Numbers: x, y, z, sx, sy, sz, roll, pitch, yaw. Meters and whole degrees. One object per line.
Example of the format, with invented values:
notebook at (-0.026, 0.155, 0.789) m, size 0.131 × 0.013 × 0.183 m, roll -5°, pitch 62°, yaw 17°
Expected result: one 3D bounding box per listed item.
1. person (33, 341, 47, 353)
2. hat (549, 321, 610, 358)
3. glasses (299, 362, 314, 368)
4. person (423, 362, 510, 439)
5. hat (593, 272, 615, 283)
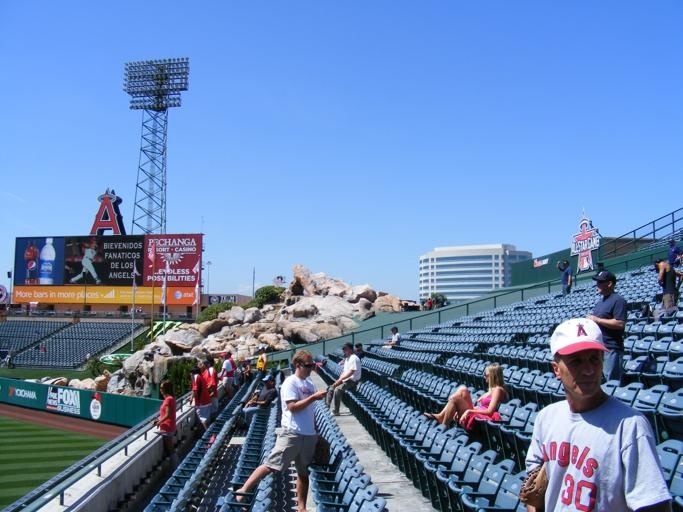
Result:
person at (-25.850, 7.889, 43.815) m, size 0.851 × 0.219 × 0.924 m, roll 0°, pitch 19°, yaw -6°
hat at (1.148, 0.396, 2.471) m, size 0.272 × 0.177 × 0.356 m, roll -3°, pitch -17°, yaw 5°
glasses at (-0.379, 1.146, 5.386) m, size 0.095 × 0.095 × 0.028 m, roll 5°, pitch 5°, yaw -18°
person at (1.554, 1.713, 6.276) m, size 0.975 × 0.749 × 0.485 m, roll -6°, pitch -3°, yaw 22°
hat at (2.886, 0.242, 5.573) m, size 0.232 × 0.129 × 0.149 m, roll 0°, pitch -5°, yaw -7°
